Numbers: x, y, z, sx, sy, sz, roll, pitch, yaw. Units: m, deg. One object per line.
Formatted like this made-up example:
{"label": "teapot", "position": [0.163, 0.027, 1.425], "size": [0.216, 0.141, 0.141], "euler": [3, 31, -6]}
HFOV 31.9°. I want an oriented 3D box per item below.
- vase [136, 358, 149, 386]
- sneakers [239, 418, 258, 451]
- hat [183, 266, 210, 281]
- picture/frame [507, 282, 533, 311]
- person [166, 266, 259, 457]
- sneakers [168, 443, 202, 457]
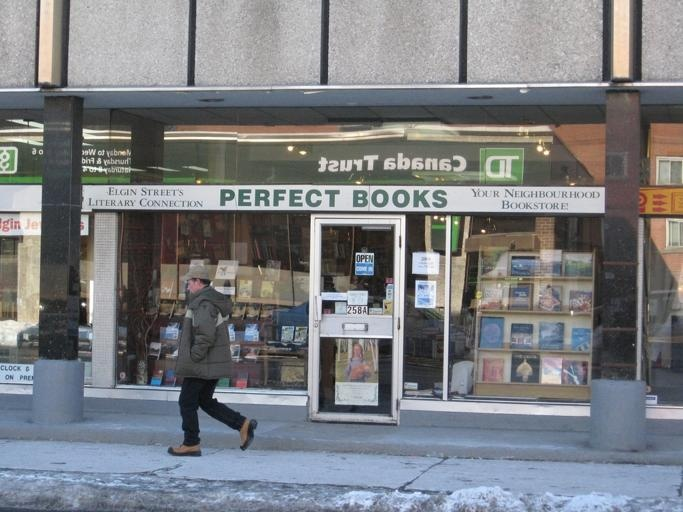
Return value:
{"label": "vase", "position": [-2.924, 1.706, 17.516], "size": [0.165, 0.336, 0.069], "euler": [0, -3, -10]}
{"label": "sneakers", "position": [-1.155, 2.196, 14.902], "size": [0.180, 0.429, 0.160], "euler": [9, 9, -1]}
{"label": "hat", "position": [-1.780, 0.234, 14.918], "size": [0.243, 0.124, 0.173], "euler": [3, 1, 10]}
{"label": "picture/frame", "position": [2.560, 0.574, 16.964], "size": [0.401, 0.424, 0.058], "euler": [4, 4, -1]}
{"label": "person", "position": [-1.652, 1.299, 14.791], "size": [0.956, 2.343, 0.506], "euler": [0, -3, -10]}
{"label": "sneakers", "position": [-1.947, 2.414, 14.916], "size": [0.399, 0.155, 0.155], "euler": [3, -3, 11]}
